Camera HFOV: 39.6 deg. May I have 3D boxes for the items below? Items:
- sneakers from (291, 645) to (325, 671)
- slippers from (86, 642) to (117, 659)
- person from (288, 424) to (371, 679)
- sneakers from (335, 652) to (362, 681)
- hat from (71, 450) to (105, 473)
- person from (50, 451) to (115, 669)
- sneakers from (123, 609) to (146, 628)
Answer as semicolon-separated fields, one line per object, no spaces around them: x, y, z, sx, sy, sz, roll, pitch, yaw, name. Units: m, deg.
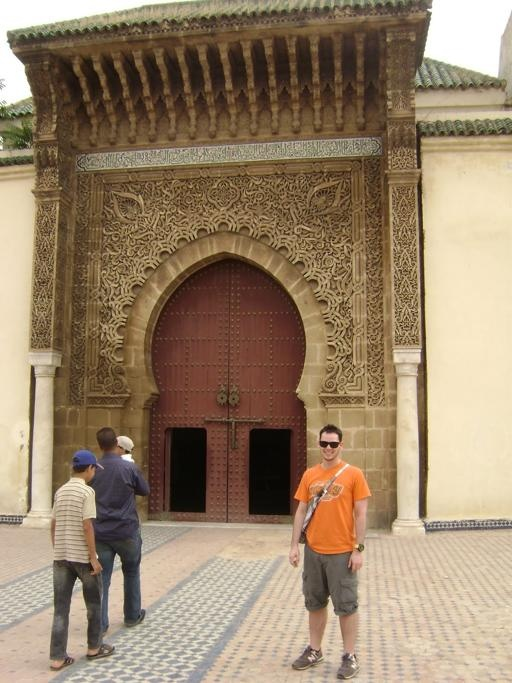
0.268;1.656;3.732;0.069;0.088;0.198;-7;-8;44;sneakers
-0.840;1.667;3.853;0.137;0.057;0.061;-5;0;-35;slippers
0.376;1.061;3.668;0.404;1.251;0.265;-2;-6;16;person
0.446;1.616;3.512;0.060;0.078;0.179;-4;-12;13;sneakers
-0.938;0.644;3.931;0.143;0.119;0.217;5;-1;28;hat
-0.936;1.216;3.783;0.307;0.972;0.330;0;-6;-7;person
-0.759;1.748;4.501;0.053;0.064;0.155;4;3;11;sneakers
